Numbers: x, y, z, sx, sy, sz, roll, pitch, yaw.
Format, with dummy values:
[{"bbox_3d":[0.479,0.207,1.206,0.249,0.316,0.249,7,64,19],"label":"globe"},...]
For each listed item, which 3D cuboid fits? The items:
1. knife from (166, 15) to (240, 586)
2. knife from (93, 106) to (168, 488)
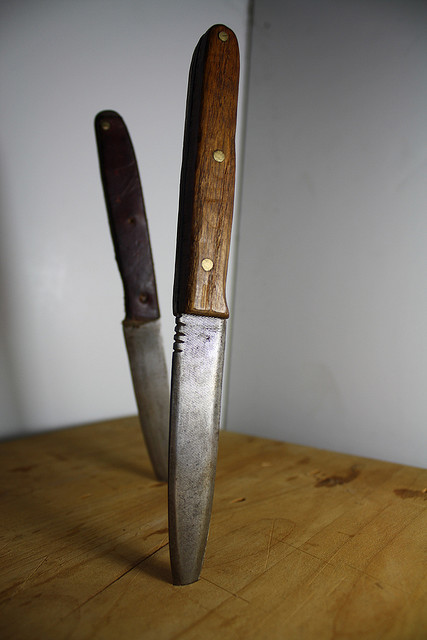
[{"bbox_3d":[-0.011,-0.012,0.634,0.092,0.544,0.049,2,4,19],"label":"knife"},{"bbox_3d":[-0.109,-0.038,0.931,0.095,0.585,0.042,-8,9,-4],"label":"knife"}]
